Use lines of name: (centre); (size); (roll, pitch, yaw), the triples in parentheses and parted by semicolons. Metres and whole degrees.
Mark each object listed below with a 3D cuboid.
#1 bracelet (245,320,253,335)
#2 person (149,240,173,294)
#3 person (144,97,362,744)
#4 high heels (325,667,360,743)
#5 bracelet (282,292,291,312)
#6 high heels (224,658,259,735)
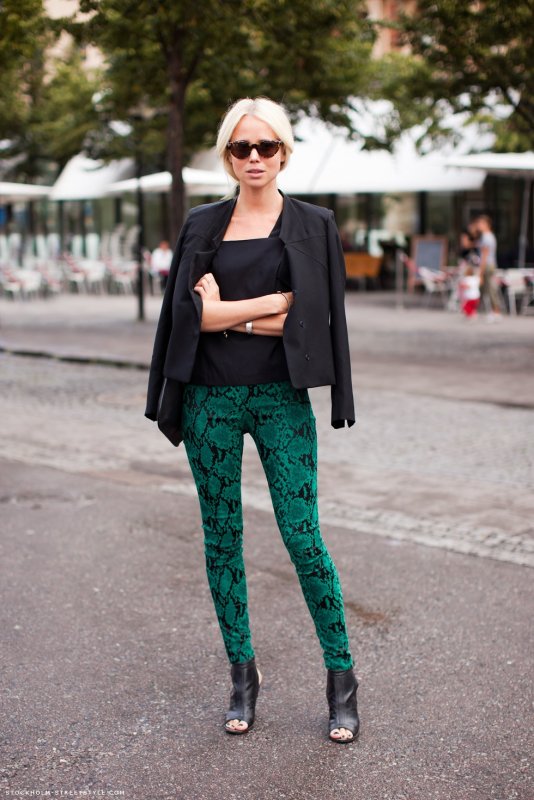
bracelet: (-0.043, -0.173, 2.107); (0.021, 0.039, 0.021); (1, 5, 1)
person: (-2.421, -3.034, 20.444); (0.451, 1.368, 0.405); (-1, -14, -10)
person: (-0.028, 0.063, 2.219); (0.489, 1.621, 0.260); (-2, 8, 5)
high heels: (0.195, 0.779, 2.264); (0.079, 0.146, 0.204); (-4, 4, 12)
bracelet: (0.051, -0.237, 2.098); (0.013, 0.037, 0.028); (1, 1, 0)
high heels: (-0.055, 0.793, 2.278); (0.060, 0.094, 0.205); (-1, 7, 7)
